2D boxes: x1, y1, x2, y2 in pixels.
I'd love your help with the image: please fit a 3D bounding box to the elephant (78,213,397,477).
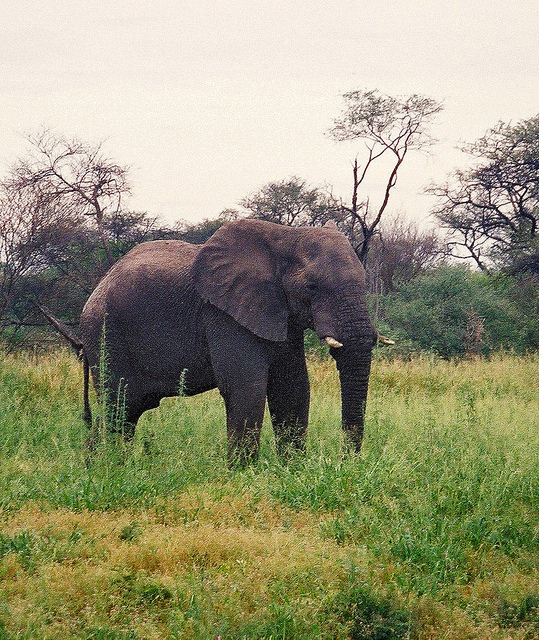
[{"bbox_3d":[-0.339,0.286,7.475,2.686,1.985,1.343,-4,0,21],"label":"elephant"}]
